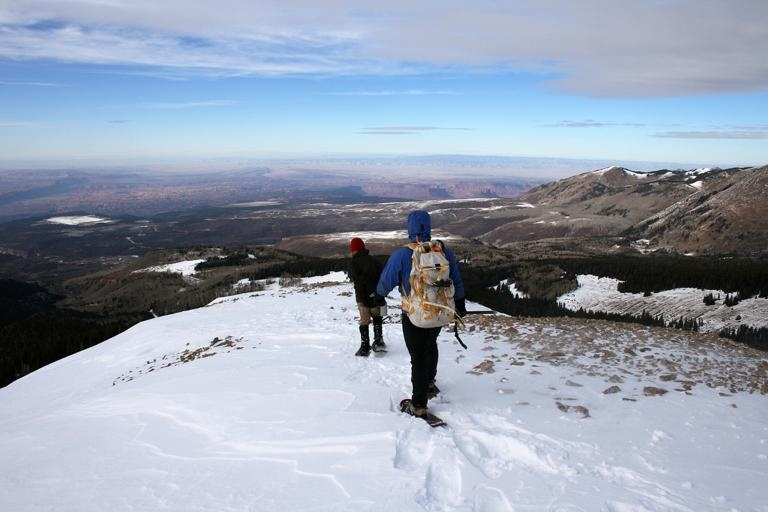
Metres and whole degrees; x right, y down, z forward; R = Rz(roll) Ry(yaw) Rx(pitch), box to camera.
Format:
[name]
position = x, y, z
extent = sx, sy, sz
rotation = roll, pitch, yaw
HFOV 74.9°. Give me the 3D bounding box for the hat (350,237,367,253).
[hat]
position = -0.714, -0.310, 13.944
extent = 0.414, 0.501, 0.585
rotation = 0, 16, 0
